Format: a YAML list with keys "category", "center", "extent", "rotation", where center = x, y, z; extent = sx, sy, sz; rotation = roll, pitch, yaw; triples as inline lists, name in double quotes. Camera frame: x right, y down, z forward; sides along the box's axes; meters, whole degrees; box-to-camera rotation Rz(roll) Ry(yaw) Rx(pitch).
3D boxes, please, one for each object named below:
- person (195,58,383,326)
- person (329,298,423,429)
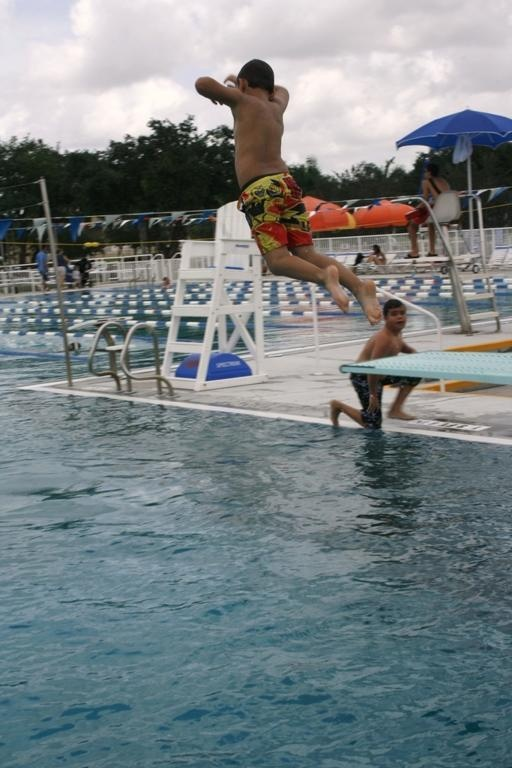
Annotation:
- category: "person"
  center: [0.148, -1.453, 4.557]
  extent: [0.866, 1.830, 1.232]
  rotation: [-7, 8, -28]
- category: "person"
  center: [0.951, -0.164, 5.155]
  extent: [0.567, 0.997, 0.918]
  rotation: [3, 10, 41]
